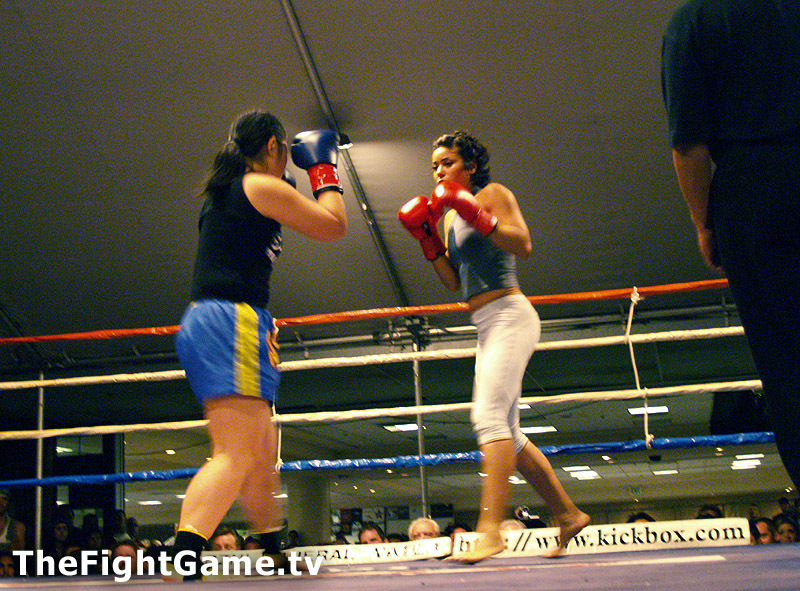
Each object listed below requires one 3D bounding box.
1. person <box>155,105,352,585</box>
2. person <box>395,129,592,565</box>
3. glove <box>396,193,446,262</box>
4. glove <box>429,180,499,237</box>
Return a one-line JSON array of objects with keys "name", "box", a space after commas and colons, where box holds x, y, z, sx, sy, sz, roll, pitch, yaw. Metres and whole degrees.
[{"name": "person", "box": [-0.558, 0.141, 3.012, 0.429, 1.695, 0.667, 15, -29, -40]}, {"name": "person", "box": [0.351, 0.099, 3.509, 0.620, 1.991, 0.666, -9, -22, 9]}, {"name": "glove", "box": [0.101, -0.313, 3.830, 0.251, 0.287, 0.127, -28, 1, -4]}, {"name": "glove", "box": [0.266, -0.369, 3.389, 0.294, 0.202, 0.120, 33, -84, -32]}]
